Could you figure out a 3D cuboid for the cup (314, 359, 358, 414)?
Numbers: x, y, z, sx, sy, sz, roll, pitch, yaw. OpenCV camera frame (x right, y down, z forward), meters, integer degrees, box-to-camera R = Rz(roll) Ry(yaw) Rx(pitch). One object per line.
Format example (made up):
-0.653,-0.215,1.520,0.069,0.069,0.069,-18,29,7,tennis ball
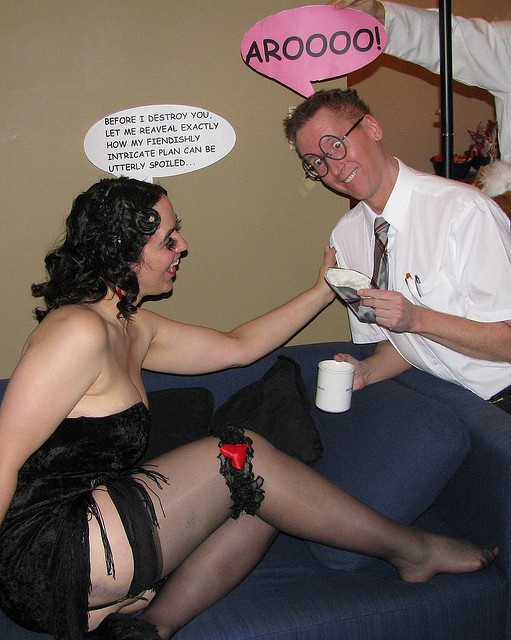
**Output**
0.211,0.183,1.622,0.147,0.132,0.139,4,10,-1,cup

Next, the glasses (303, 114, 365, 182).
0.206,-0.458,1.538,0.184,0.060,0.197,-36,4,4,glasses
